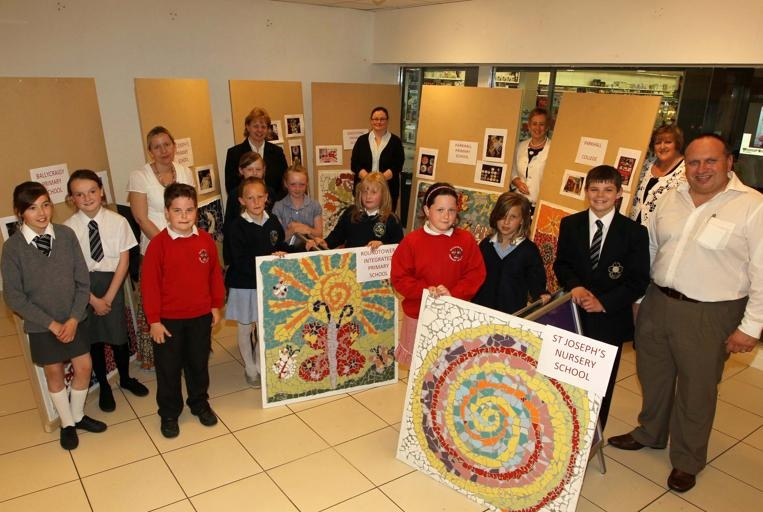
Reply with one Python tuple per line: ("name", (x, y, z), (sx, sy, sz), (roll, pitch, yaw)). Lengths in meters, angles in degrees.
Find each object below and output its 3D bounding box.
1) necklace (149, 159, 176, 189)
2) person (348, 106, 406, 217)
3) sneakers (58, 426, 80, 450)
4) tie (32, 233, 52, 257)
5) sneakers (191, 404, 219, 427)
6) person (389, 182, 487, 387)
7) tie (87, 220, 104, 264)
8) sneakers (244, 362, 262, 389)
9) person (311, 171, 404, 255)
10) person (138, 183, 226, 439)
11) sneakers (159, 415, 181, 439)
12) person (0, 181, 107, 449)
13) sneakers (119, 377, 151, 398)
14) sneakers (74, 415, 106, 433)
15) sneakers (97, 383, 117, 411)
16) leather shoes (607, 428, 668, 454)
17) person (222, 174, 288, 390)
("necklace", (-2.091, -0.809, 4.872), (0.227, 0.307, 0.094), (-9, 31, -35))
("person", (-0.063, -1.011, 7.033), (0.696, 1.990, 0.714), (0, 21, -3))
("sneakers", (-2.536, 1.475, 4.115), (0.095, 0.106, 0.247), (-2, 16, -37))
("tie", (-2.593, -0.095, 3.887), (0.111, 0.162, 0.040), (-16, 25, -33))
("sneakers", (-1.528, 1.351, 4.388), (0.273, 0.119, 0.120), (22, 25, 38))
("person", (0.463, 0.298, 4.289), (0.788, 1.724, 0.794), (-1, 20, -2))
("tie", (-2.417, -0.187, 4.256), (0.100, 0.412, 0.027), (-10, -6, 29))
("sneakers", (-1.237, 1.141, 4.847), (0.101, 0.108, 0.271), (-5, 13, -26))
("person", (-0.198, -0.304, 4.712), (0.821, 0.944, 0.596), (4, 15, 2))
("person", (-1.628, 0.444, 4.169), (0.675, 1.996, 0.525), (-9, 22, -20))
("sneakers", (-1.768, 1.425, 4.262), (0.109, 0.191, 0.196), (2, 3, -20))
("person", (-2.567, 0.472, 4.011), (0.572, 2.070, 0.543), (-18, 27, -38))
("sneakers", (-2.279, 1.197, 4.673), (0.285, 0.106, 0.134), (19, 36, 21))
("sneakers", (-2.439, 1.405, 4.302), (0.285, 0.115, 0.108), (4, 25, 0))
("sneakers", (-2.440, 1.247, 4.500), (0.109, 0.107, 0.288), (-5, 33, -37))
("leather shoes", (2.123, 1.532, 4.319), (0.486, 0.205, 0.164), (7, -2, 3))
("person", (-1.183, 0.230, 4.734), (0.549, 1.889, 0.576), (8, 23, 23))
